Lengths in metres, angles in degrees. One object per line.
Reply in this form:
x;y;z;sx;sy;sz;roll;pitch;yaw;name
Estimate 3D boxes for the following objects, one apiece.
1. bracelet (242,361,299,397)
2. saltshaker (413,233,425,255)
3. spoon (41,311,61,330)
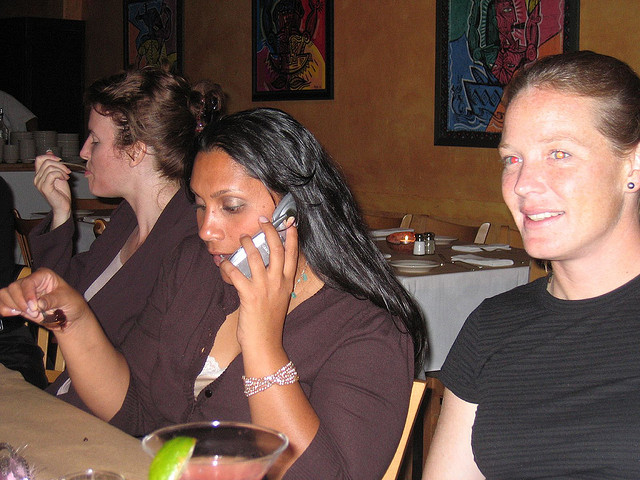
-0.113;0.284;1.229;0.079;0.034;0.073;-16;3;11;bracelet
0.584;0.013;3.482;0.065;0.108;0.140;1;10;9;saltshaker
-0.683;0.204;1.496;0.022;0.025;0.063;-12;22;-35;spoon
